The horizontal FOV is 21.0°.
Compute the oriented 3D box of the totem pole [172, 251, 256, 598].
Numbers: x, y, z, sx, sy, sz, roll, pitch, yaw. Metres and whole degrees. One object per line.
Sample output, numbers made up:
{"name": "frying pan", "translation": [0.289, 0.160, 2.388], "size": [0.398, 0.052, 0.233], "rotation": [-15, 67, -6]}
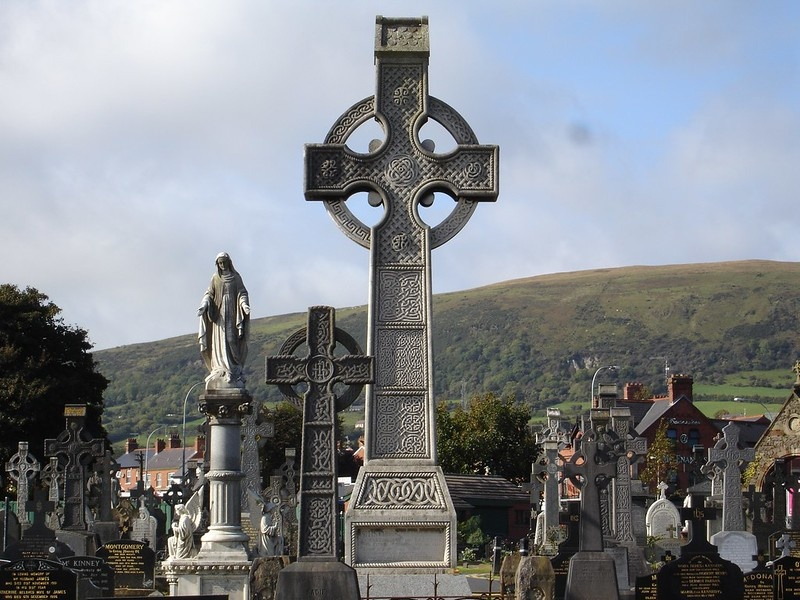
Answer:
{"name": "totem pole", "translation": [-8.683, 7.123, 100.971], "size": [2.644, 16.858, 2.883], "rotation": [-10, -12, 26]}
